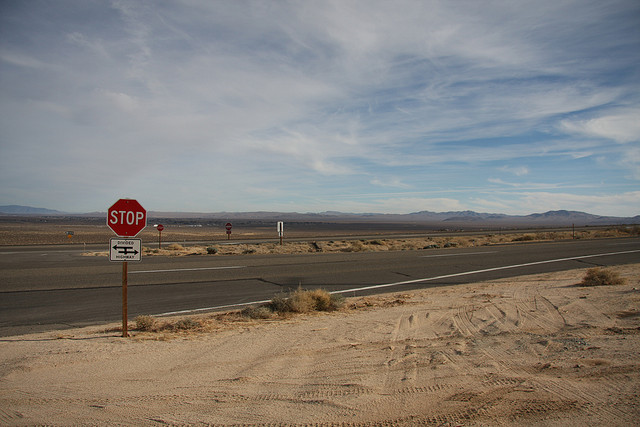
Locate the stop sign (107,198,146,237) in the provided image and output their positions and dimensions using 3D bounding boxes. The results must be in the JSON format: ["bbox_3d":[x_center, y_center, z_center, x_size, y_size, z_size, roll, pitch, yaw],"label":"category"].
[{"bbox_3d":[-4.973,0.077,10.379,0.126,0.988,1.168,0,-3,28],"label":"stop sign"}]
